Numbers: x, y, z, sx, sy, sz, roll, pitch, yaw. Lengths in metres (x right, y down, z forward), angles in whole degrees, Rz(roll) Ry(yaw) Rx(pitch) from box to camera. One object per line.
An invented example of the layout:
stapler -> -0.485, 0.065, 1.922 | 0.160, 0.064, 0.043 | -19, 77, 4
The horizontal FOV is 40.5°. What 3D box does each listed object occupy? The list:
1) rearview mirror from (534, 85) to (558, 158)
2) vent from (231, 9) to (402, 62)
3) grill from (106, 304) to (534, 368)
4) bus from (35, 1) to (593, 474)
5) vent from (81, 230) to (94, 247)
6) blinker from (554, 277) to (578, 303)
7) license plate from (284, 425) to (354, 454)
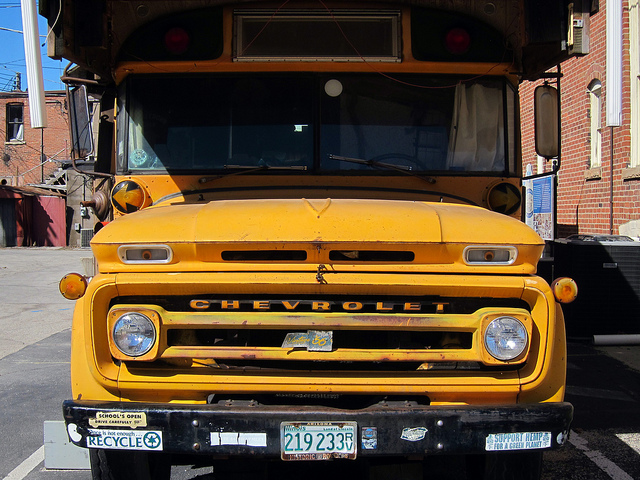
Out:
rearview mirror -> 1.811, -0.960, 6.926 | 0.143, 0.550, 0.206 | -1, 7, -4
vent -> -0.022, -1.633, 6.916 | 1.348, 0.398, 0.109 | 1, 2, 2
grill -> -0.008, 0.659, 5.962 | 2.941, 0.526, 0.426 | -1, -16, 8
bus -> 0.045, -0.098, 8.117 | 3.009, 2.551, 4.600 | 0, -3, 2
vent -> -8.410, -0.039, 31.160 | 0.307, 0.647, 2.255 | 0, 2, -16
blinker -> 1.732, 0.346, 6.026 | 0.123, 0.169, 0.191 | 2, 3, 39
license plate -> -0.004, 1.323, 5.750 | 0.448, 0.176, 0.009 | 0, 2, -1
